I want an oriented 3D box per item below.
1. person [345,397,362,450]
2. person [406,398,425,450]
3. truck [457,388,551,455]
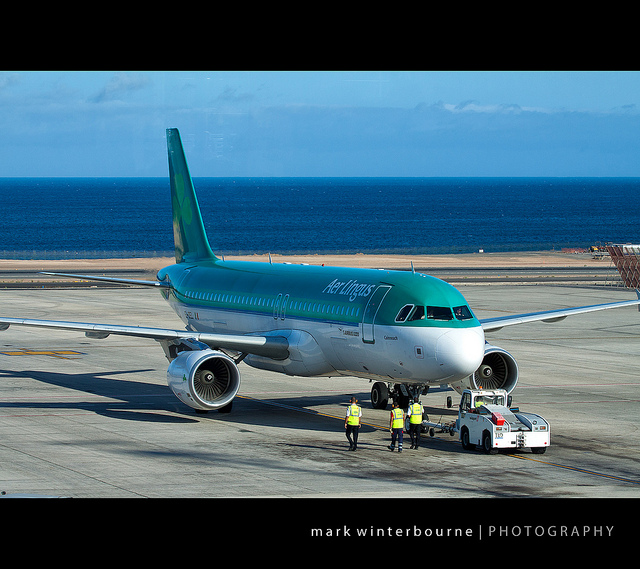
[{"bbox_3d":[1.005,4.239,29.675,0.549,1.606,1.042,-11,29,0],"label":"person"},{"bbox_3d":[2.990,4.542,30.357,0.528,1.583,1.162,-7,28,7],"label":"person"},{"bbox_3d":[5.639,4.196,30.321,1.933,1.189,2.736,-5,9,-17],"label":"truck"}]
